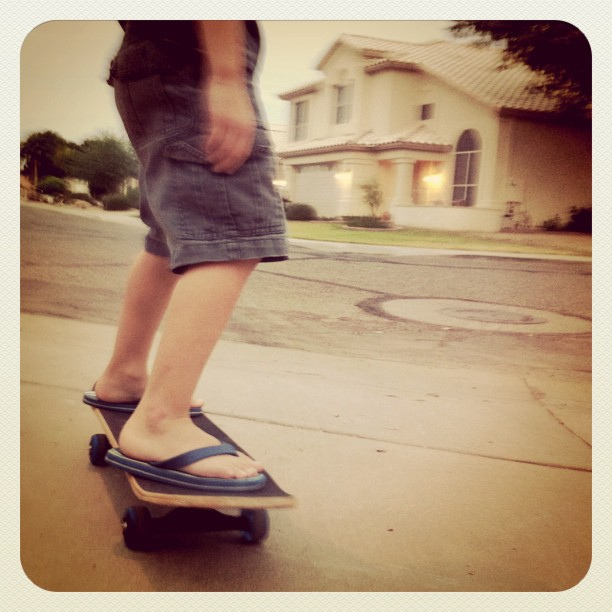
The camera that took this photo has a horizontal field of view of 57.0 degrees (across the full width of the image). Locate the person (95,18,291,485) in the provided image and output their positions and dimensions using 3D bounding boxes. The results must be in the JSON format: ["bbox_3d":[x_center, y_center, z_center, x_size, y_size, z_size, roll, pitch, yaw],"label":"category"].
[{"bbox_3d":[-0.227,-0.126,1.117,0.379,0.899,0.239,3,8,-2],"label":"person"}]
